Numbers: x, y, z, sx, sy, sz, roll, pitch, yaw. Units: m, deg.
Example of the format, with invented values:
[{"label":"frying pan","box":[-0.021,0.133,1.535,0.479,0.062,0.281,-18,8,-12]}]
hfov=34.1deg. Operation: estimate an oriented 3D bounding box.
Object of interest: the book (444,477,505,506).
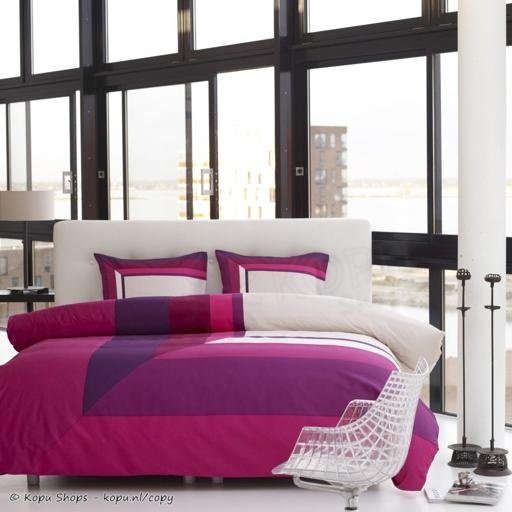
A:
[{"label":"book","box":[0.936,1.013,3.603,0.242,0.058,0.230,3,8,18]}]

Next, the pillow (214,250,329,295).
[{"label":"pillow","box":[0.085,0.093,4.730,0.652,0.213,0.286,0,7,0]}]

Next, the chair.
[{"label":"chair","box":[0.387,0.567,3.137,0.474,0.842,0.490,2,-3,15]}]

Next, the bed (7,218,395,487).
[{"label":"bed","box":[-0.250,1.062,5.347,2.156,1.819,1.033,0,-3,4]}]

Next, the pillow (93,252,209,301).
[{"label":"pillow","box":[-0.604,0.110,4.774,0.636,0.243,0.350,-1,7,-7]}]
